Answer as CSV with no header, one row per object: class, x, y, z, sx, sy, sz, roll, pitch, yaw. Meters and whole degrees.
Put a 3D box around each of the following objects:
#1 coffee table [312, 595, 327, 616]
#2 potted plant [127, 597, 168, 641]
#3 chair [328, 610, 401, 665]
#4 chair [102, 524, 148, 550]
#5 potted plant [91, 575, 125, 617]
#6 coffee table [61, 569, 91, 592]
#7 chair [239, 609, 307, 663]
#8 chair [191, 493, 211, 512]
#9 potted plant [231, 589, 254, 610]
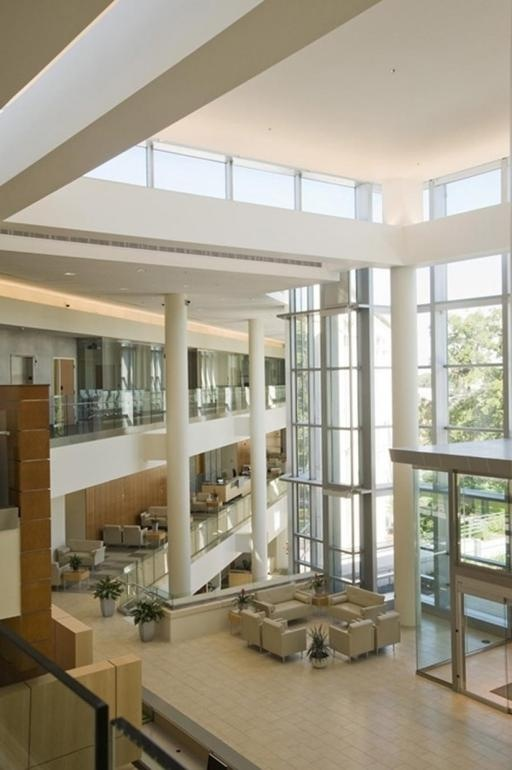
coffee table,1.453,4.982,14.231,0.344,0.522,0.663,-2,-1,6
potted plant,-2.164,4.570,12.476,0.683,0.870,0.665,-1,3,-14
chair,2.009,4.651,11.546,1.266,0.766,0.537,-1,-1,-32
chair,-4.356,4.943,20.459,1.362,0.733,0.424,-2,-1,7
potted plant,-3.210,4.575,13.760,0.750,0.992,0.773,1,7,-10
coffee table,-4.601,4.943,15.911,0.413,0.401,0.739,0,4,5
chair,0.339,4.672,11.806,0.747,0.766,1.331,-1,-2,-30
chair,-2.148,4.611,24.563,0.443,0.512,0.508,1,-4,6
potted plant,-0.261,4.553,13.283,0.319,0.369,0.346,1,2,6
